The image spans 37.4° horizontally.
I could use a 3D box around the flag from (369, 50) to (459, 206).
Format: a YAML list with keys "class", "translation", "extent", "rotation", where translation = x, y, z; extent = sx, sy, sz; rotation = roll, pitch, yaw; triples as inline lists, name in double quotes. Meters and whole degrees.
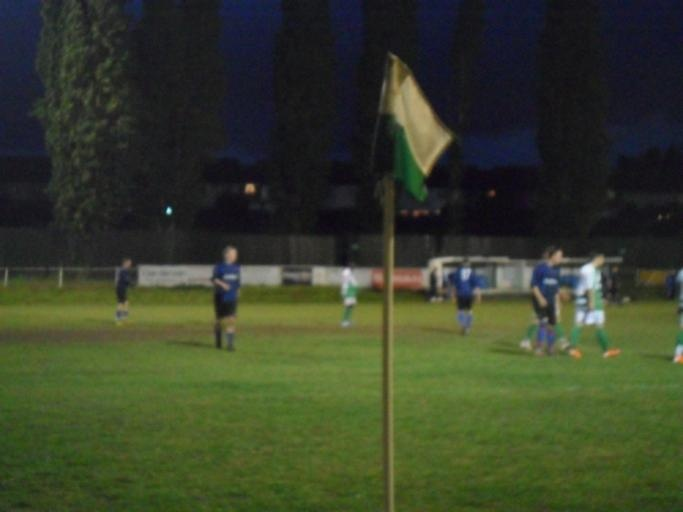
- class: "flag"
  translation: [1.491, -2.925, 22.919]
  extent: [1.769, 3.356, 0.467]
  rotation: [-4, 7, -20]

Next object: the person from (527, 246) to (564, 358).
- class: "person"
  translation: [6.184, 1.347, 30.566]
  extent: [0.849, 3.338, 1.280]
  rotation: [0, 7, 11]

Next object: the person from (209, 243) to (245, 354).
- class: "person"
  translation: [-3.497, 1.329, 30.659]
  extent: [0.794, 3.296, 1.186]
  rotation: [-3, 7, -8]
